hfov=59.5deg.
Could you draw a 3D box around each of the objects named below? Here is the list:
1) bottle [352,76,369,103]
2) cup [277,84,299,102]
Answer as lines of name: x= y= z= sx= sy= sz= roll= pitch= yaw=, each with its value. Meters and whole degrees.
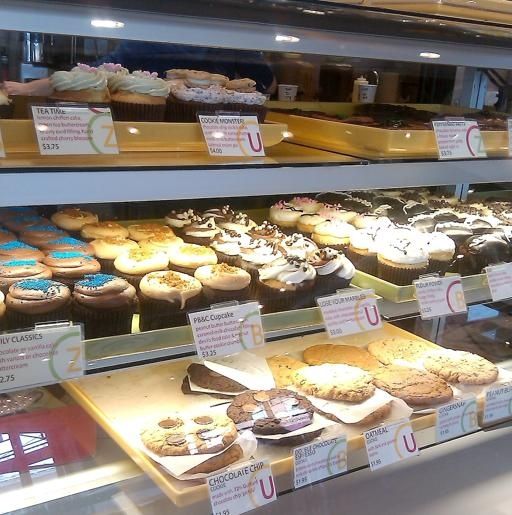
bottle: x=0.324 y=-0.531 z=1.402 sx=0.054 sy=0.070 sz=0.044 roll=15 pitch=45 yaw=16
cup: x=0.093 y=-0.494 z=1.346 sx=0.063 sy=0.032 sz=0.052 roll=1 pitch=8 yaw=-3
